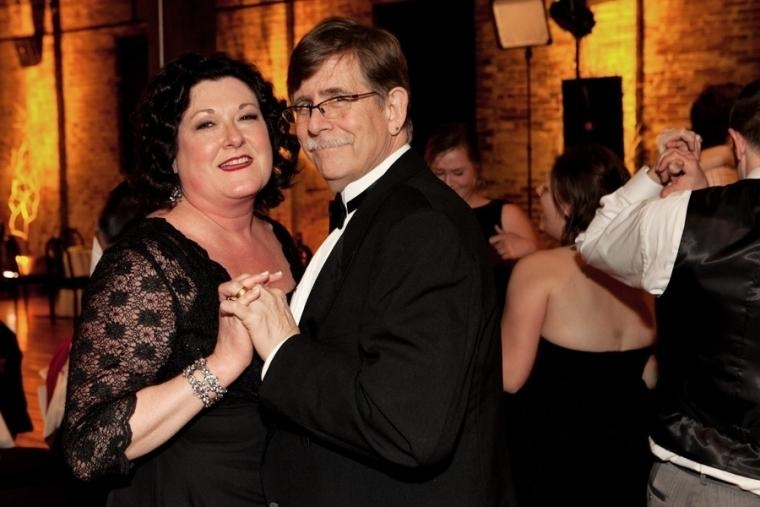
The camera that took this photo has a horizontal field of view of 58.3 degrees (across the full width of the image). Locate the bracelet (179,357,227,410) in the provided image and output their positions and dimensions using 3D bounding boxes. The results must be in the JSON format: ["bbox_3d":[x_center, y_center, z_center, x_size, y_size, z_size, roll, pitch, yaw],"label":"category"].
[{"bbox_3d":[-0.665,0.486,2.559,0.141,0.184,0.060,-33,3,-11],"label":"bracelet"}]

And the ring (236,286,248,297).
[{"bbox_3d":[-0.497,0.139,2.452,0.008,0.030,0.030,33,-31,-33],"label":"ring"}]

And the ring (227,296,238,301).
[{"bbox_3d":[-0.536,0.164,2.480,0.027,0.019,0.027,0,-24,0],"label":"ring"}]
